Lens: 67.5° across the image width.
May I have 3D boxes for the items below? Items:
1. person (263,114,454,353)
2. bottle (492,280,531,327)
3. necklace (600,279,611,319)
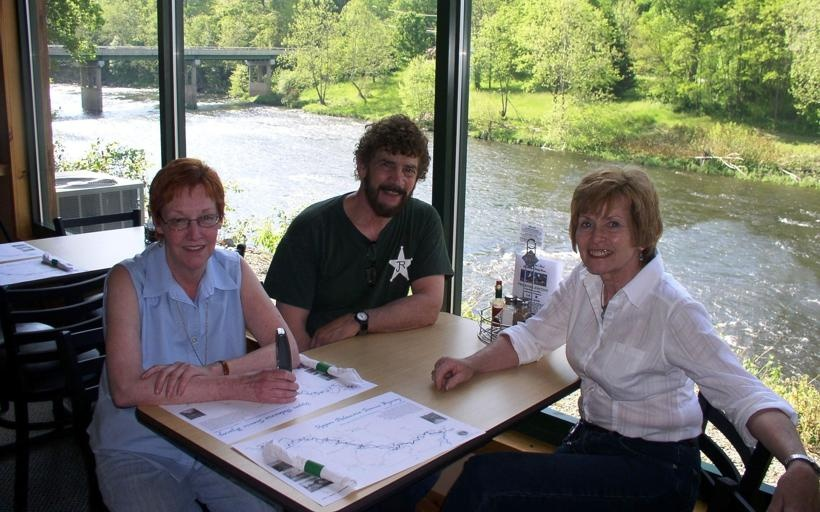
[{"bbox_3d":[-0.234,-0.051,2.980,0.975,1.232,0.731,1,19,-23],"label":"person"},{"bbox_3d":[0.443,0.207,2.780,0.237,0.237,0.137,3,12,15],"label":"bottle"},{"bbox_3d":[0.793,0.174,2.456,0.040,0.108,0.081,9,-2,24],"label":"necklace"}]
